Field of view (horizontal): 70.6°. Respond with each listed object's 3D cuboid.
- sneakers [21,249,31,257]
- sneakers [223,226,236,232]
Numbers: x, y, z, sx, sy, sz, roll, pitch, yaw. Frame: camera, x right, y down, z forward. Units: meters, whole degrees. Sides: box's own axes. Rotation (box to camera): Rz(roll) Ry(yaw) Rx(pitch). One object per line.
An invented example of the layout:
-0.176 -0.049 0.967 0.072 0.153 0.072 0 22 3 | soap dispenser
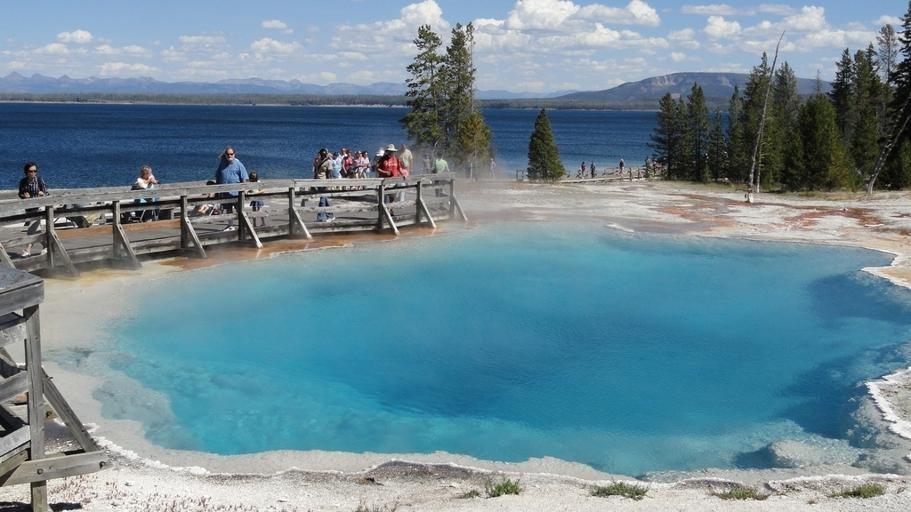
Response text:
-13.538 -0.128 20.340 0.294 0.131 0.443 0 13 -9 | sneakers
-8.551 -1.043 24.473 0.298 0.163 0.458 -2 -1 -3 | sneakers
